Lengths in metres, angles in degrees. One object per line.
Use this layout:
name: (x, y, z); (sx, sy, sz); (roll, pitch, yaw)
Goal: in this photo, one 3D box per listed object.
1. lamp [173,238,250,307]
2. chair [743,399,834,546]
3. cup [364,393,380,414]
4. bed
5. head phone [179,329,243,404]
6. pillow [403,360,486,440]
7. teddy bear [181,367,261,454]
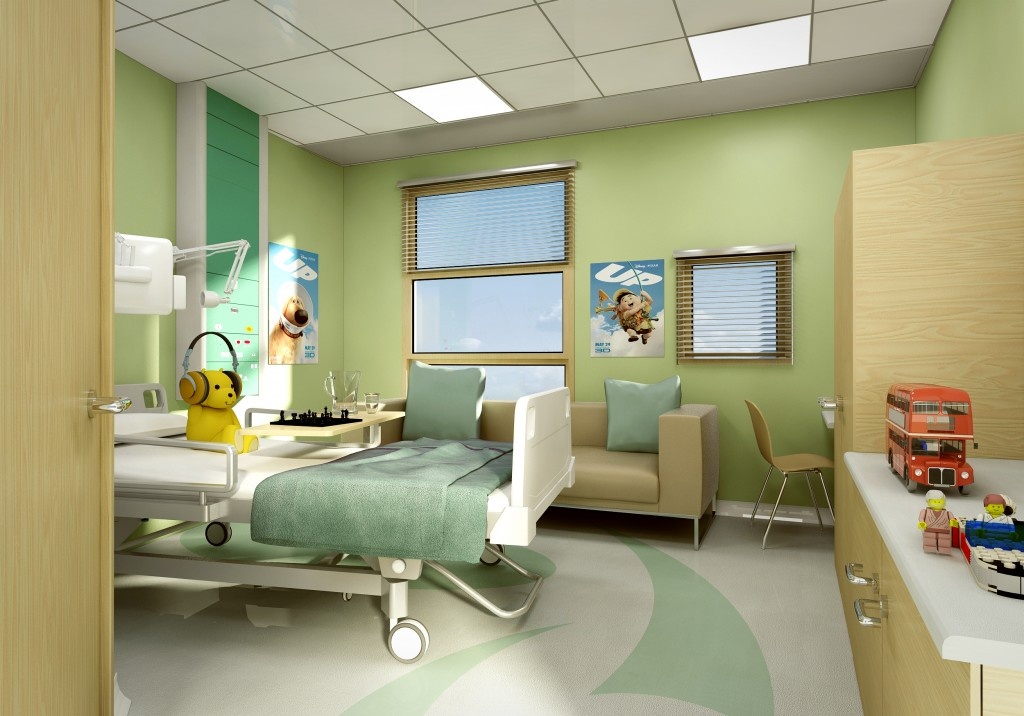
lamp: (-1.787, -0.513, 4.013); (0.345, 0.446, 1.324); (-3, 7, -24)
chair: (1.848, 0.730, 4.417); (0.527, 0.824, 0.507); (-2, 4, 18)
cup: (-0.913, 0.293, 4.327); (0.123, 0.136, 0.124); (-1, -2, 0)
bed: (-0.686, 0.671, 3.226); (1.775, 0.876, 1.386); (-1, -2, 15)
head phone: (-1.684, -0.001, 3.763); (0.104, 0.310, 0.327); (7, 4, 34)
pillow: (-0.481, 0.320, 4.807); (0.554, 0.547, 0.217); (0, -17, 16)
teddy bear: (-1.541, 0.276, 3.588); (0.394, 0.435, 0.331); (5, 1, 7)
